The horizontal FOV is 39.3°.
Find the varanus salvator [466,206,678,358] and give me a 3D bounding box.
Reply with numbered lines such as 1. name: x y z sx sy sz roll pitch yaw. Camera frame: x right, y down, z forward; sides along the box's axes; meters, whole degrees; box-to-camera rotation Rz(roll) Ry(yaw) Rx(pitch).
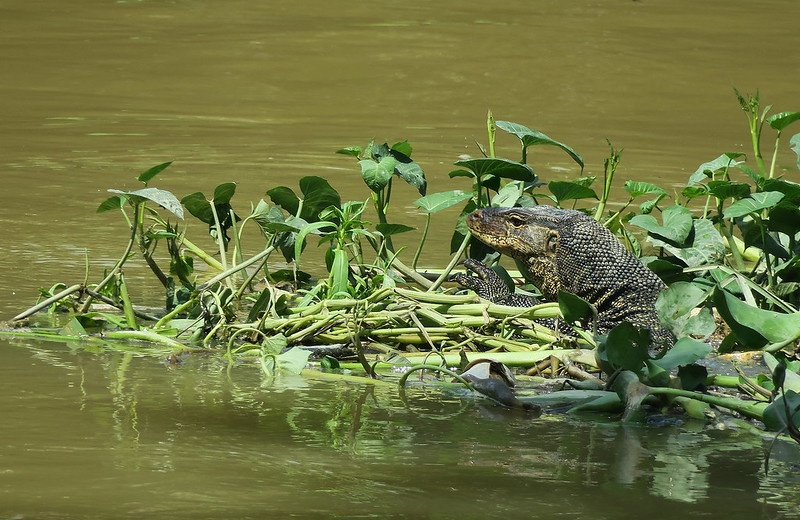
1. varanus salvator: 0.972 0.105 6.307 1.429 0.326 0.715 15 27 4
